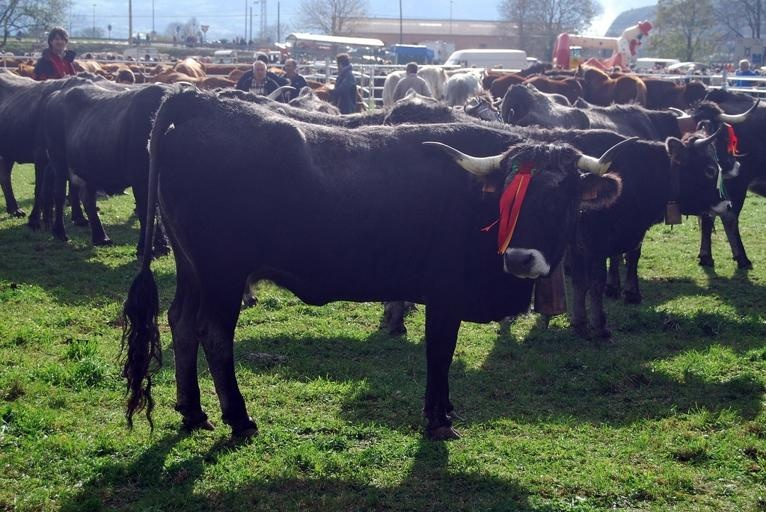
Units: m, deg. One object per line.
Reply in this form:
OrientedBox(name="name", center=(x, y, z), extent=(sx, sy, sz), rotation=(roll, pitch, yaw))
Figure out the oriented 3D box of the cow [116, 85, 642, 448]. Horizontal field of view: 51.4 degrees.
OrientedBox(name="cow", center=(0.004, 0.287, 9.667), extent=(4.903, 3.197, 1.841), rotation=(-1, 0, -8))
